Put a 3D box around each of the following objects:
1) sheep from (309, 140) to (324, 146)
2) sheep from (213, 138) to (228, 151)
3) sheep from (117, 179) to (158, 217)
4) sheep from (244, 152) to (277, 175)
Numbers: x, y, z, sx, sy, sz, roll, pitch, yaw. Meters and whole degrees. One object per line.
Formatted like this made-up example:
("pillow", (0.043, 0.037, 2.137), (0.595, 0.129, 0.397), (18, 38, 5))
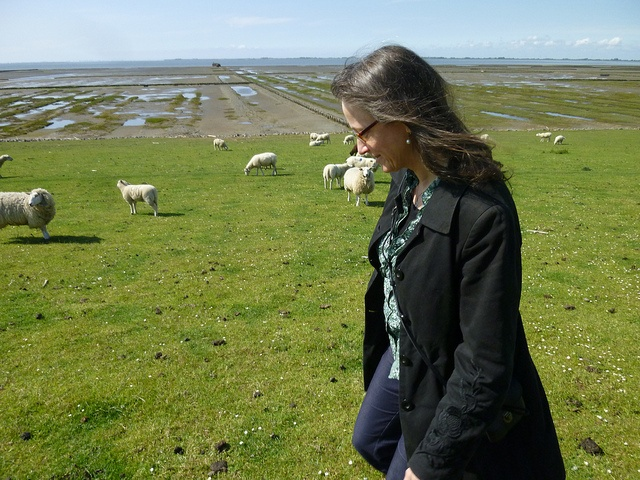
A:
("sheep", (-0.249, -9.077, 39.921), (0.943, 0.494, 1.825), (8, 23, 29))
("sheep", (-8.737, -8.307, 37.213), (0.917, 0.881, 2.313), (-17, 24, -30))
("sheep", (-7.886, -1.827, 18.568), (2.219, 1.391, 1.067), (14, 27, 39))
("sheep", (-3.753, -4.830, 27.310), (2.055, 1.485, 1.718), (10, 25, 33))
